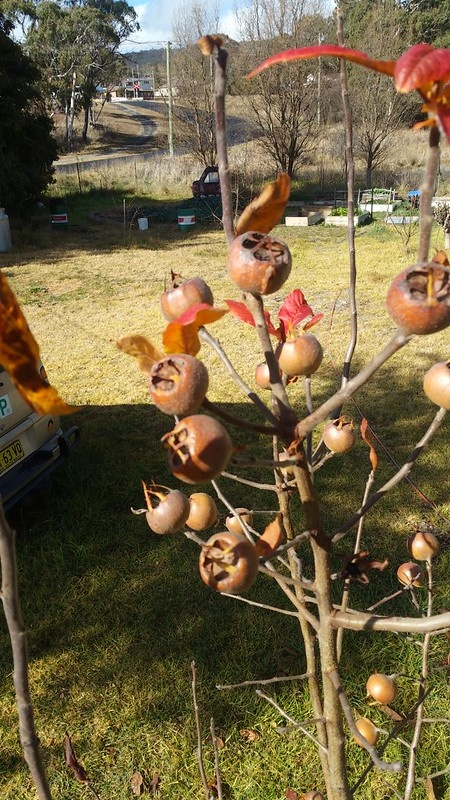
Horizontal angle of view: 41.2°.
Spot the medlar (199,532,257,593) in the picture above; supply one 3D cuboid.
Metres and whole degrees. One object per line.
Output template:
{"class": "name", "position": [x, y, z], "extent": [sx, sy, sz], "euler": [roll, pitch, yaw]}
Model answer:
{"class": "medlar", "position": [0.014, 0.222, 0.843], "extent": [0.082, 0.082, 0.116], "euler": [-6, -14, 8]}

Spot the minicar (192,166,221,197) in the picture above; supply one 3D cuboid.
{"class": "minicar", "position": [-0.740, -8.442, 23.170], "extent": [0.933, 1.276, 1.624], "euler": [-4, 14, -6]}

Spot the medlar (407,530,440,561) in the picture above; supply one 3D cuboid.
{"class": "medlar", "position": [0.454, 0.354, 1.394], "extent": [0.072, 0.080, 0.087], "euler": [0, -1, 29]}
